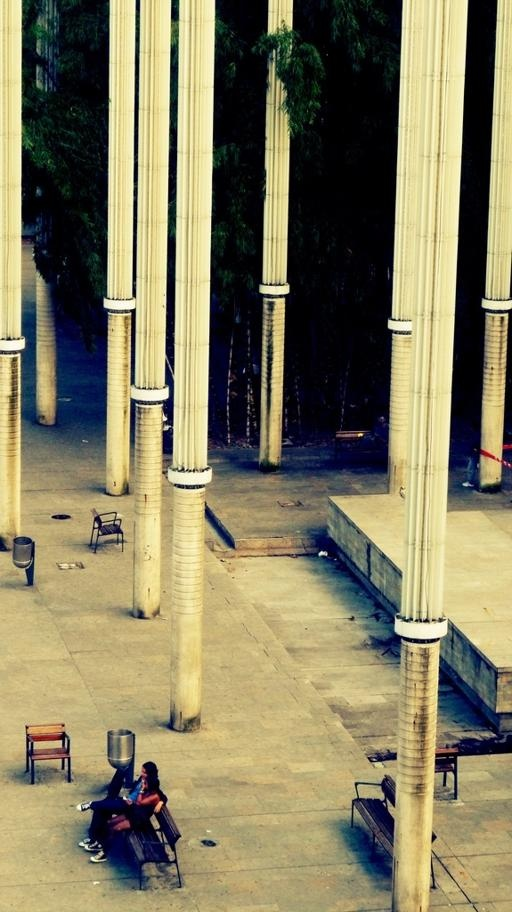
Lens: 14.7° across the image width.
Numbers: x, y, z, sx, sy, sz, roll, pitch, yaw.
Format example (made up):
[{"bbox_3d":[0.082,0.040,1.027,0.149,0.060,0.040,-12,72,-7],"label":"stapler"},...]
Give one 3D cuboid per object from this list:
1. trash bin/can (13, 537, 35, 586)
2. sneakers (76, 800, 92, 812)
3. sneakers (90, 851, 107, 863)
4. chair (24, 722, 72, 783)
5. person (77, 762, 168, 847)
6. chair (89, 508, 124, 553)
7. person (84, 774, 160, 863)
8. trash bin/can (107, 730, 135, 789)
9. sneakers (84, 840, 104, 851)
[{"bbox_3d":[-2.933,1.303,25.194,0.279,0.653,0.887,1,13,-8],"label":"trash bin/can"},{"bbox_3d":[-1.614,3.274,18.665,0.151,0.118,0.069,-15,-26,3],"label":"sneakers"},{"bbox_3d":[-1.416,3.588,17.850,0.113,0.055,0.213,10,15,25],"label":"sneakers"},{"bbox_3d":[-2.025,2.897,19.376,0.336,0.575,0.351,-1,1,-19],"label":"chair"},{"bbox_3d":[-1.220,3.161,18.072,0.592,1.008,0.373,8,26,-19],"label":"person"},{"bbox_3d":[-2.045,1.045,27.411,0.421,0.767,0.496,-1,13,-7],"label":"chair"},{"bbox_3d":[-1.230,3.148,18.060,0.634,1.032,0.399,4,29,-21],"label":"person"},{"bbox_3d":[-1.277,2.879,18.859,0.220,0.632,0.246,-5,18,-23],"label":"trash bin/can"},{"bbox_3d":[-1.474,3.505,17.987,0.106,0.064,0.076,8,2,-18],"label":"sneakers"}]
